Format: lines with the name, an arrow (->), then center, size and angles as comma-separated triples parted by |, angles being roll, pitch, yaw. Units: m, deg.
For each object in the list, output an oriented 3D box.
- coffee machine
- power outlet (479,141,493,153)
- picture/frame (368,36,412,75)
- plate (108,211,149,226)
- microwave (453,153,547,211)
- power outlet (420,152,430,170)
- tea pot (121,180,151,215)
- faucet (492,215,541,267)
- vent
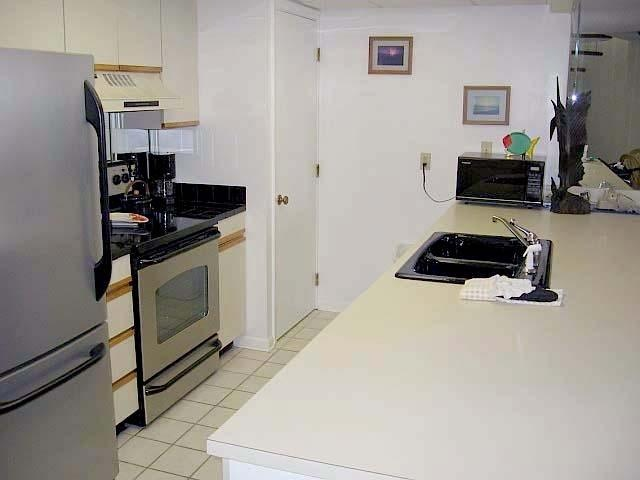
coffee machine -> -1.282, -0.416, 3.555 | 0.422, 0.391, 0.258 | 0, -10, -25
power outlet -> 1.265, -0.709, 3.718 | 0.094, 0.110, 0.014 | 5, 16, 21
picture/frame -> 0.559, -1.449, 3.809 | 0.302, 0.260, 0.025 | 1, 10, 16
plate -> -1.116, -0.123, 2.838 | 0.189, 0.046, 0.102 | 5, 9, 2
microwave -> 1.335, -0.451, 3.510 | 0.596, 0.371, 0.415 | 10, 29, 36
power outlet -> 0.833, -0.630, 3.872 | 0.082, 0.126, 0.024 | 0, 13, 3
tea pot -> -1.201, -0.251, 3.265 | 0.143, 0.224, 0.132 | 4, 18, -1
faucet -> 0.909, -0.041, 2.322 | 0.217, 0.088, 0.051 | 19, -6, 20
vent -> -1.052, -0.853, 2.773 | 0.176, 0.223, 0.610 | 8, 18, 22
